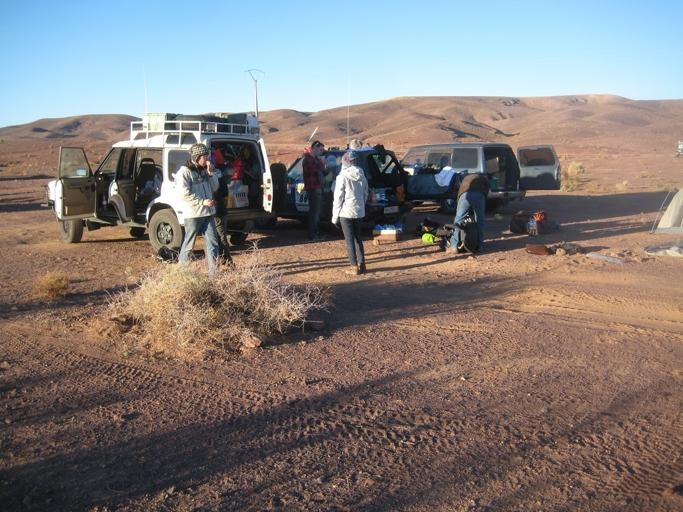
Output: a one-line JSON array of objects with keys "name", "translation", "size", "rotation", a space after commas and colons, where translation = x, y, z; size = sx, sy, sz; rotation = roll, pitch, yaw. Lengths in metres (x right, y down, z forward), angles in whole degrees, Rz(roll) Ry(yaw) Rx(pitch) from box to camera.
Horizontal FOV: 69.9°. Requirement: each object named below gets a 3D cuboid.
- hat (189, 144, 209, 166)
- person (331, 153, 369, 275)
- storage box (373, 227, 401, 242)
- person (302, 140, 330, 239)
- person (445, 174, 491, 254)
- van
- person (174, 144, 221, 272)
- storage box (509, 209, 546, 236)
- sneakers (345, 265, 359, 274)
[{"name": "hat", "translation": [-2.263, -1.660, 7.887], "size": [0.387, 0.313, 0.324], "rotation": [10, 12, 36]}, {"name": "person", "translation": [0.152, -0.780, 8.756], "size": [0.622, 2.132, 0.781], "rotation": [-2, 15, 1]}, {"name": "storage box", "translation": [1.065, -0.485, 11.454], "size": [0.636, 0.271, 0.446], "rotation": [-1, 14, 2]}, {"name": "person", "translation": [-0.639, -1.547, 11.675], "size": [0.533, 2.353, 1.232], "rotation": [-3, 15, -2]}, {"name": "person", "translation": [2.704, -0.930, 10.461], "size": [0.698, 1.598, 1.120], "rotation": [3, 16, 20]}, {"name": "van", "translation": [3.654, -2.550, 16.053], "size": [2.739, 1.333, 4.427], "rotation": [-9, 17, -42]}, {"name": "person", "translation": [-2.278, -0.824, 7.643], "size": [0.684, 1.830, 1.148], "rotation": [-6, 15, -12]}, {"name": "storage box", "translation": [4.741, -0.855, 12.494], "size": [0.970, 0.594, 0.603], "rotation": [4, 2, 5]}, {"name": "sneakers", "translation": [0.183, 0.262, 8.769], "size": [0.124, 0.137, 0.226], "rotation": [1, 6, -39]}]
